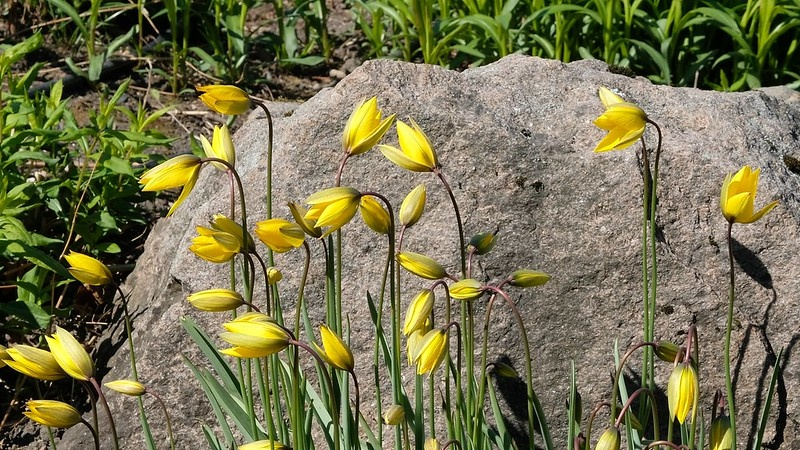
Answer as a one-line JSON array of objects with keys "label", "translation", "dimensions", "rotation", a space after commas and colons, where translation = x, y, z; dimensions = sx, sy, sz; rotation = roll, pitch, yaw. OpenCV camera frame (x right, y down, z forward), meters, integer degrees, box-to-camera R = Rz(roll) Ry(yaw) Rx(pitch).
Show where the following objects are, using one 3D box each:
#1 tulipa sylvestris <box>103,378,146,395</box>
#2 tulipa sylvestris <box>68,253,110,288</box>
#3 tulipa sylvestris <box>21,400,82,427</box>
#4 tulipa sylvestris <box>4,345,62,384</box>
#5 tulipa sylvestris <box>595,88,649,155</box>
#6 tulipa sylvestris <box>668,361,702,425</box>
[{"label": "tulipa sylvestris", "translation": [-1.565, 0.925, 8.503], "dimensions": [0.192, 0.078, 0.076], "rotation": [14, 34, 12]}, {"label": "tulipa sylvestris", "translation": [-1.751, 0.247, 8.344], "dimensions": [0.229, 0.099, 0.156], "rotation": [25, 59, -18]}, {"label": "tulipa sylvestris", "translation": [-1.905, 1.036, 8.137], "dimensions": [0.284, 0.160, 0.130], "rotation": [12, 38, 2]}, {"label": "tulipa sylvestris", "translation": [-2.009, 0.771, 8.147], "dimensions": [0.270, 0.181, 0.106], "rotation": [31, 36, -18]}, {"label": "tulipa sylvestris", "translation": [1.208, -0.577, 8.317], "dimensions": [0.220, 0.339, 0.337], "rotation": [-9, 35, 1]}, {"label": "tulipa sylvestris", "translation": [1.568, 0.861, 8.154], "dimensions": [0.155, 0.543, 0.150], "rotation": [9, 28, 15]}]
